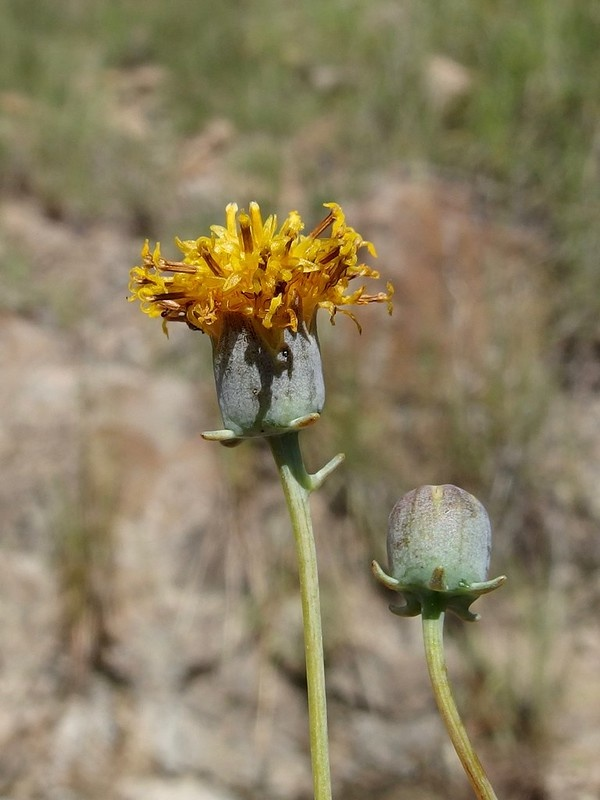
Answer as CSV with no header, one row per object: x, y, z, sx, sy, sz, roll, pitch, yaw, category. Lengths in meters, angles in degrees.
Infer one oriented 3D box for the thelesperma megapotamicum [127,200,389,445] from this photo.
-0.012,-0.064,1.082,0.275,0.255,0.207,1,85,22,thelesperma megapotamicum
